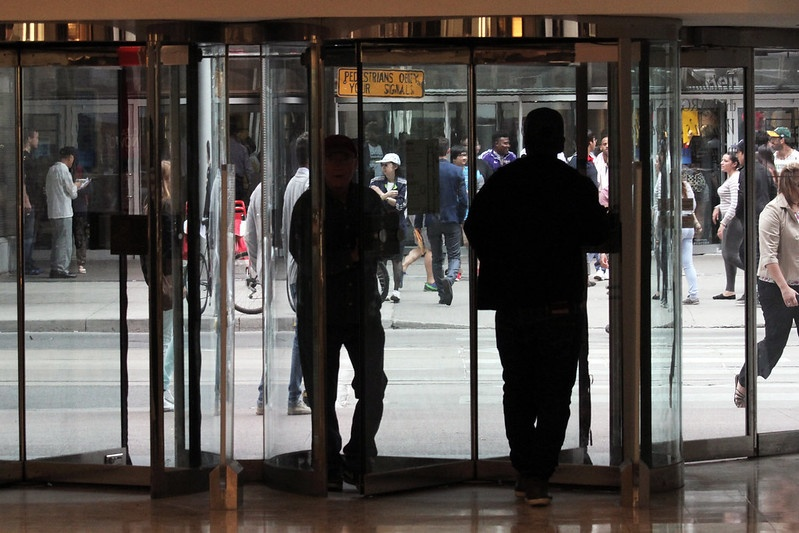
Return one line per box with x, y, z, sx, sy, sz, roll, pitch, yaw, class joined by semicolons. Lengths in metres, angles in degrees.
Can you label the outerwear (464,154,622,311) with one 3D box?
0.875;-0.215;7.454;0.900;0.956;0.310;0;11;2;outerwear
